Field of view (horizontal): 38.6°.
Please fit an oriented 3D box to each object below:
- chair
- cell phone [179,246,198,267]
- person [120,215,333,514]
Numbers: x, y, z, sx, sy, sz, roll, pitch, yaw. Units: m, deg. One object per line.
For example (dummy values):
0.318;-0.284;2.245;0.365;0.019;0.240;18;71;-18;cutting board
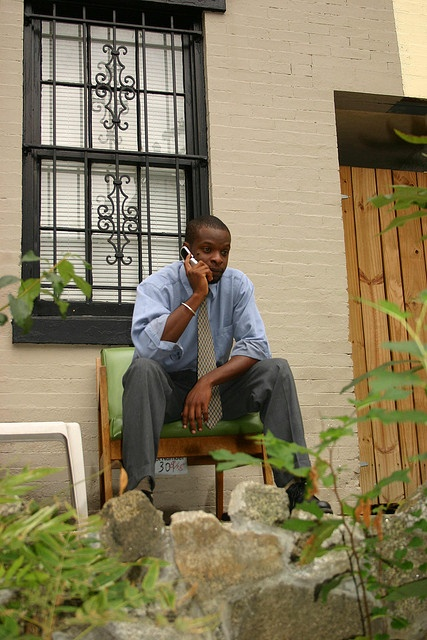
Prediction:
-0.163;0.384;2.294;0.722;0.636;0.686;4;-8;-38;chair
-0.093;-0.241;2.297;0.024;0.050;0.098;-22;41;-21;cell phone
-0.033;0.051;1.968;0.530;0.630;0.870;-2;1;-7;person
